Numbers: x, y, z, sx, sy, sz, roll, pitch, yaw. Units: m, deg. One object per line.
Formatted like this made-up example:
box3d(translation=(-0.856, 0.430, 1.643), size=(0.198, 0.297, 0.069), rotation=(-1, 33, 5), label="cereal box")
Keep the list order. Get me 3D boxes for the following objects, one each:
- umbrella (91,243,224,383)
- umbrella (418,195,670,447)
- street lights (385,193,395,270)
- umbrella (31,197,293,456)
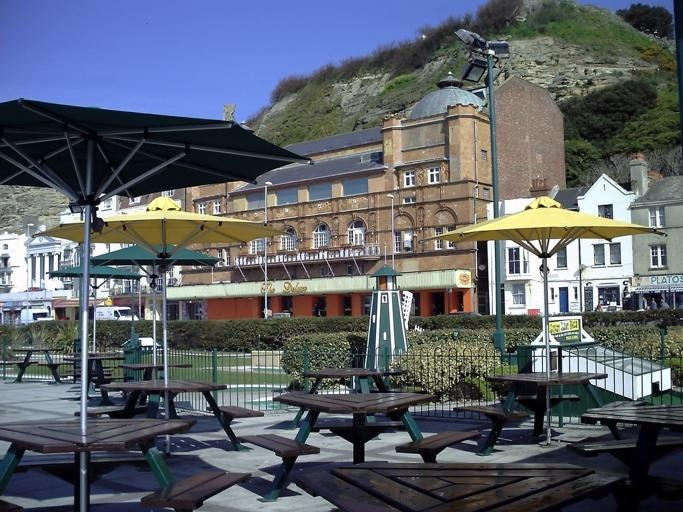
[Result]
box3d(translation=(-3.152, 0.939, 16.618), size=(2.843, 2.554, 2.589), rotation=(0, -5, -26), label="umbrella")
box3d(translation=(3.853, 0.393, 15.188), size=(3.779, 2.988, 3.642), rotation=(-5, 10, 9), label="umbrella")
box3d(translation=(4.152, -2.206, 64.400), size=(0.552, 5.836, 0.589), rotation=(-4, -7, 4), label="street lights")
box3d(translation=(-3.274, 0.579, 15.132), size=(4.266, 3.451, 3.877), rotation=(4, 7, 33), label="umbrella")
